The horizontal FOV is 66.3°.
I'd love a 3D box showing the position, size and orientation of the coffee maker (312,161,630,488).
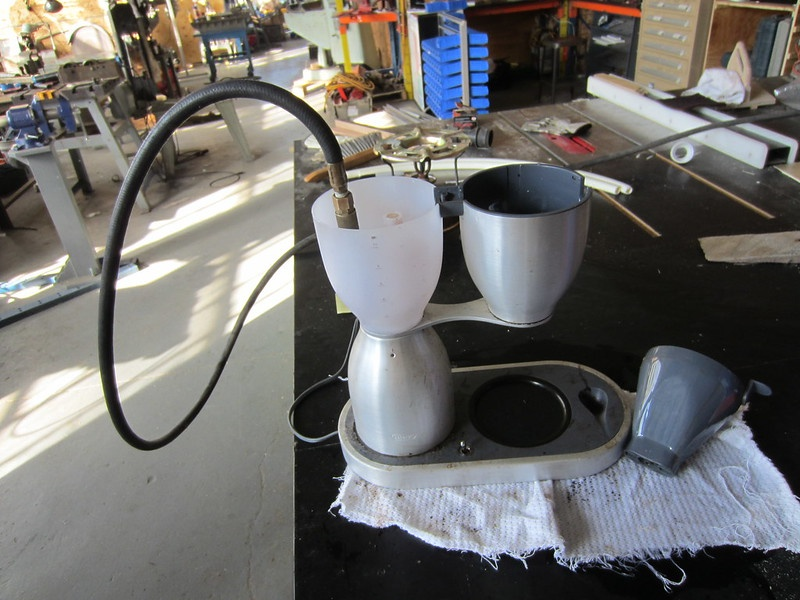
[{"bbox_3d":[0.116,0.064,1.038,0.494,0.470,0.271,-6,29,0],"label":"coffee maker"}]
